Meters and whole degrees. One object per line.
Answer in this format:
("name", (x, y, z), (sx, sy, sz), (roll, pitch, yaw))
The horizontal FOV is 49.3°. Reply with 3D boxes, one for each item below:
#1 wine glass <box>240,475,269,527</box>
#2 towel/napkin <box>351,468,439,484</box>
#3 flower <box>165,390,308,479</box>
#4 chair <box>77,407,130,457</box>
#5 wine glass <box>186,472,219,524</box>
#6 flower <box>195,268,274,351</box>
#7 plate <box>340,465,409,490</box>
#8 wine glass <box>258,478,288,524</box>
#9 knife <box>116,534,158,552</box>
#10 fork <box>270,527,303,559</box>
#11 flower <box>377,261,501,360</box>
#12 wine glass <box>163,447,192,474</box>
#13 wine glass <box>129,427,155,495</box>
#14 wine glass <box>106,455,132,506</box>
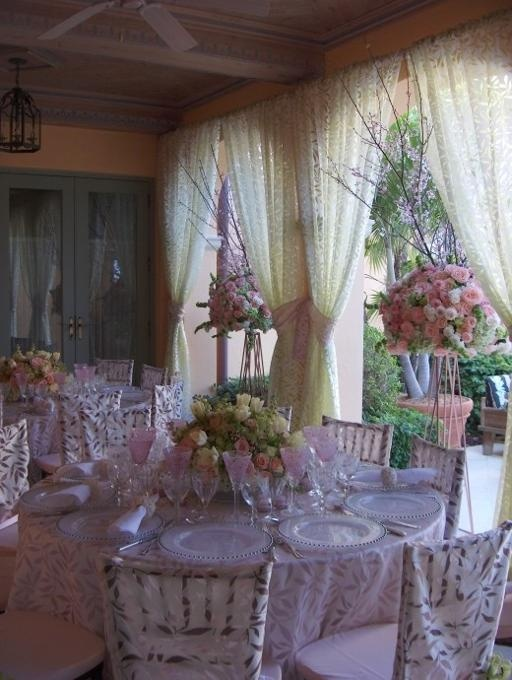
("wine glass", (-0.010, 0.460, 1.572), (0.100, 0.154, 0.103), (1, -22, 9))
("towel/napkin", (0.488, 0.485, 1.981), (0.191, 0.050, 0.141), (-2, -7, 3))
("flower", (-0.055, 0.293, 1.853), (0.302, 0.202, 0.298), (3, 8, 15))
("chair", (-0.838, 0.500, 3.065), (0.247, 0.242, 0.444), (0, 1, -13))
("wine glass", (-0.159, 0.469, 1.593), (0.117, 0.174, 0.107), (-1, -15, -5))
("flower", (-0.162, -0.308, 4.549), (0.571, 0.572, 0.529), (1, 1, 3))
("plate", (0.412, 0.486, 1.964), (0.127, 0.024, 0.135), (-3, 5, -13))
("wine glass", (0.068, 0.474, 1.613), (0.088, 0.126, 0.081), (4, 2, 34))
("knife", (-0.304, 0.515, 1.411), (0.022, 0.015, 0.135), (13, 17, 35))
("fork", (0.081, 0.505, 1.394), (0.021, 0.013, 0.133), (-9, 7, -16))
("flower", (0.911, -0.125, 2.751), (0.476, 0.422, 0.510), (0, 1, 33))
("wine glass", (-0.219, 0.328, 1.581), (0.084, 0.086, 0.088), (2, 3, -19))
("wine glass", (-0.365, 0.383, 1.738), (0.087, 0.202, 0.073), (6, 3, -14))
("wine glass", (-0.423, 0.455, 1.760), (0.089, 0.177, 0.070), (1, -33, -3))
